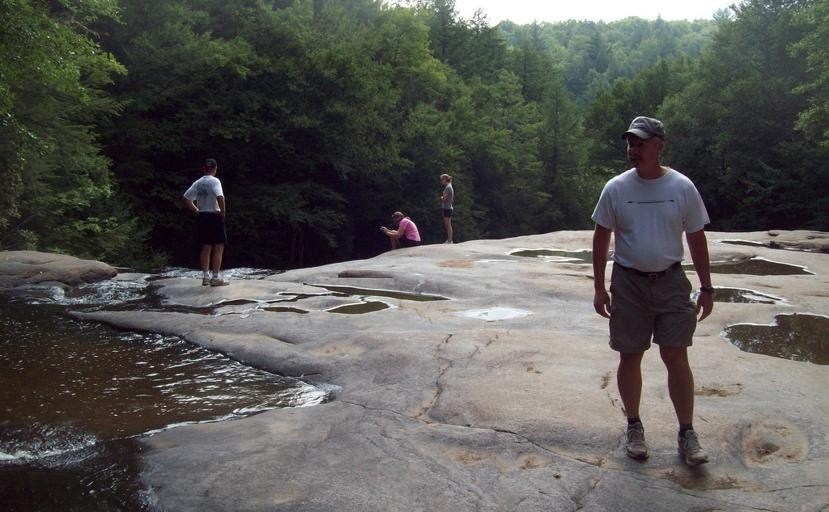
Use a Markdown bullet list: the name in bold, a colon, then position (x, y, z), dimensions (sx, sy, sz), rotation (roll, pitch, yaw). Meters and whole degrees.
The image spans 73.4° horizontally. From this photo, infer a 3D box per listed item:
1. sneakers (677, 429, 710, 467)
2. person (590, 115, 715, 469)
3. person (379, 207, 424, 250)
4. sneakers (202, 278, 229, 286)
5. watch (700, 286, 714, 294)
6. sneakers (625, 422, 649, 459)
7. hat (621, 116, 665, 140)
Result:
- **sneakers**: position (2.748, 1.879, 5.477), dimensions (0.259, 0.350, 0.140), rotation (-2, 4, 22)
- **person**: position (2.416, 0.320, 5.640), dimensions (1.103, 3.466, 0.605), rotation (-2, 4, 22)
- **person**: position (-0.366, -0.851, 17.974), dimensions (0.894, 1.208, 1.815), rotation (-4, 3, -2)
- **sneakers**: position (-4.039, 0.532, 11.206), dimensions (0.407, 0.124, 0.215), rotation (0, 2, -4)
- **watch**: position (3.007, 0.342, 5.684), dimensions (0.121, 0.056, 0.090), rotation (1, 2, 4)
- **sneakers**: position (2.250, 1.847, 5.646), dimensions (0.233, 0.350, 0.272), rotation (-2, 3, 18)
- **hat**: position (2.415, -1.290, 5.710), dimensions (0.405, 0.172, 0.260), rotation (11, 5, -11)
